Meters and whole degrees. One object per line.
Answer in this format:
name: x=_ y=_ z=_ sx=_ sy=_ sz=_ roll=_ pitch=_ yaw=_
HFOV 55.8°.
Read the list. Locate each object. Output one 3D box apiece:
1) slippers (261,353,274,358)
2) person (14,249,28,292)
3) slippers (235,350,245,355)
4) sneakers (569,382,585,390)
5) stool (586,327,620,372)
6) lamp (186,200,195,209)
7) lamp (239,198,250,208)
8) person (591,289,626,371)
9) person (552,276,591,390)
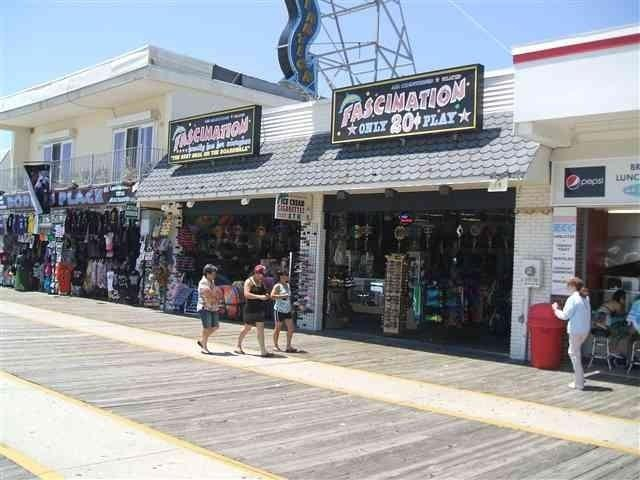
slippers: x=-1.141 y=2.579 z=13.305 sx=0.198 sy=0.071 sz=0.104 roll=0 pitch=-2 yaw=-9
person: x=-13.271 y=1.416 z=27.031 sx=0.560 sy=1.705 sz=0.971 roll=1 pitch=1 yaw=-27
slippers: x=-1.775 y=2.543 z=13.490 sx=0.234 sy=0.104 sz=0.081 roll=3 pitch=-2 yaw=18
sneakers: x=4.777 y=2.761 z=11.304 sx=0.106 sy=0.150 sz=0.219 roll=-1 pitch=5 yaw=-16
stool: x=6.164 y=2.375 z=13.291 sx=0.614 sy=0.877 sz=0.653 roll=2 pitch=-1 yaw=-31
lamp: x=-4.308 y=-1.180 z=20.184 sx=0.200 sy=0.263 sz=0.234 roll=0 pitch=-2 yaw=-4
lamp: x=-2.235 y=-1.118 z=17.879 sx=0.208 sy=0.188 sz=0.261 roll=4 pitch=-9 yaw=2
person: x=6.371 y=1.980 z=13.366 sx=0.711 sy=1.556 sz=1.153 roll=2 pitch=1 yaw=26
person: x=4.871 y=1.770 z=11.630 sx=0.644 sy=1.929 sz=0.752 roll=-3 pitch=-4 yaw=38
